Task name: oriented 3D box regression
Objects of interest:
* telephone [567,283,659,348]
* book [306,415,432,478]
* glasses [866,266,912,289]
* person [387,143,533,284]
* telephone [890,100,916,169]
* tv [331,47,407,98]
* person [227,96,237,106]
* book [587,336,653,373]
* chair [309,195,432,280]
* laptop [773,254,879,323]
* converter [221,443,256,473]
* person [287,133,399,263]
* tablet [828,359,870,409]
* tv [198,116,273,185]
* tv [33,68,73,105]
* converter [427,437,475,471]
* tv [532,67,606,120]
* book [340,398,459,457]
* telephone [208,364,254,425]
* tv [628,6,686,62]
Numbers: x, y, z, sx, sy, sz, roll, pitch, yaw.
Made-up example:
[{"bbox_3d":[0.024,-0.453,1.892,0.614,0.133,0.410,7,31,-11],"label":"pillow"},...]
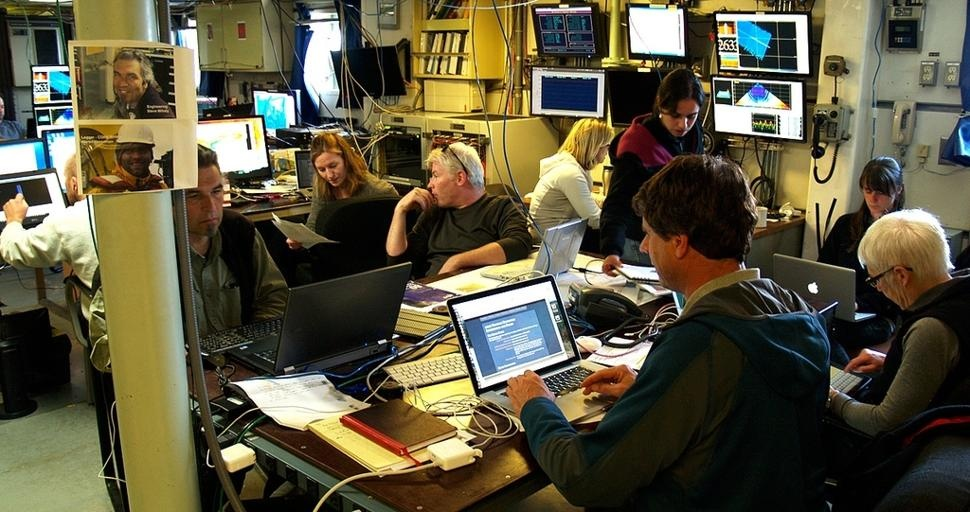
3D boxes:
[{"bbox_3d":[0.760,0.271,3.811,0.497,0.203,0.361,1,10,-6],"label":"telephone"},{"bbox_3d":[-0.528,0.822,2.780,0.299,0.031,0.238,27,31,37],"label":"book"},{"bbox_3d":[2.145,0.124,3.471,0.133,0.038,0.134,-26,7,-38],"label":"glasses"},{"bbox_3d":[-0.170,-0.297,4.765,1.205,1.030,0.702,-3,-1,32],"label":"person"},{"bbox_3d":[3.584,-1.053,5.547,0.185,0.550,0.097,4,15,27],"label":"telephone"},{"bbox_3d":[-1.407,-2.250,7.988,1.002,0.621,0.092,3,10,25],"label":"tv"},{"bbox_3d":[-3.918,-2.429,10.033,0.160,0.132,1.097,-8,14,-20],"label":"person"},{"bbox_3d":[0.707,0.520,3.376,0.232,0.054,0.257,11,23,38],"label":"book"},{"bbox_3d":[-0.948,-0.158,5.011,0.713,0.823,0.719,-9,18,-26],"label":"chair"},{"bbox_3d":[2.063,0.131,3.977,0.428,0.340,0.592,-18,22,-32],"label":"laptop"},{"bbox_3d":[-1.043,0.843,2.765,0.126,0.076,0.129,21,26,40],"label":"converter"},{"bbox_3d":[-1.142,-0.527,5.442,0.937,0.945,0.992,-7,11,-24],"label":"person"},{"bbox_3d":[1.937,0.677,3.468,0.271,0.066,0.297,14,34,39],"label":"tablet"},{"bbox_3d":[-2.376,-1.014,6.025,0.093,0.586,0.853,6,14,25],"label":"tv"},{"bbox_3d":[-5.368,-2.121,7.972,0.413,0.487,0.728,-11,16,-32],"label":"tv"},{"bbox_3d":[-0.138,0.835,2.742,0.157,0.045,0.110,-8,22,-34],"label":"converter"},{"bbox_3d":[0.893,-1.723,6.731,0.898,0.505,0.063,7,15,23],"label":"tv"},{"bbox_3d":[-0.375,0.741,2.835,0.263,0.051,0.274,18,23,37],"label":"book"},{"bbox_3d":[-1.208,0.654,3.029,0.237,0.053,0.239,-11,34,-38],"label":"telephone"},{"bbox_3d":[1.642,-2.131,6.116,0.535,0.411,0.069,12,33,24],"label":"tv"}]
